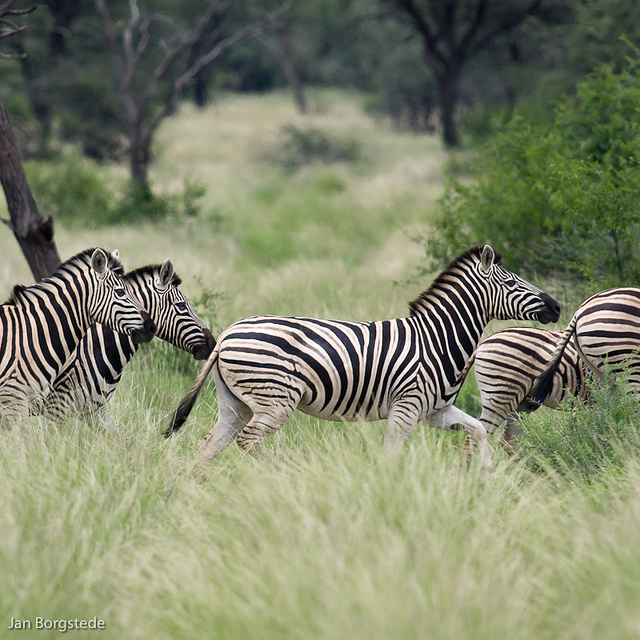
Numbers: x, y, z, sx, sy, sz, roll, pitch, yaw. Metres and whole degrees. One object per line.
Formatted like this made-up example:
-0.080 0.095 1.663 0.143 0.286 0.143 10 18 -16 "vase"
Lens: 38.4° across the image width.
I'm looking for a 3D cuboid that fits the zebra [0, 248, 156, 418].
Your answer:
-1.471 0.013 5.485 0.891 0.895 0.444 -6 19 -5 "zebra"
